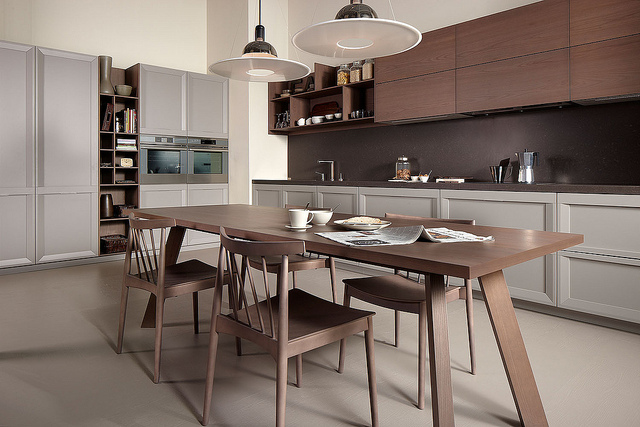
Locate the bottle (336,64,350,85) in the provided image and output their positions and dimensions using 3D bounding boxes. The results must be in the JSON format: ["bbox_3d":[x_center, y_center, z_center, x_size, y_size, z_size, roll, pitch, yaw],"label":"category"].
[{"bbox_3d":[0.306,-1.821,5.330,0.153,0.274,0.311,1,13,4],"label":"bottle"}]

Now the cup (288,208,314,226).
[{"bbox_3d":[-0.116,0.021,2.557,0.154,0.087,0.119,4,1,6],"label":"cup"}]

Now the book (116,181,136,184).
[{"bbox_3d":[-2.618,-0.428,5.613,0.241,0.032,0.147,-5,13,-23],"label":"book"}]

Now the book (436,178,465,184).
[{"bbox_3d":[1.328,-0.338,4.240,0.270,0.030,0.315,5,13,20],"label":"book"}]

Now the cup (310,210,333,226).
[{"bbox_3d":[0.003,0.028,2.700,0.109,0.058,0.105,-1,2,0],"label":"cup"}]

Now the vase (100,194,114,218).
[{"bbox_3d":[-2.832,-0.114,5.514,0.159,0.302,0.186,-7,15,-26],"label":"vase"}]

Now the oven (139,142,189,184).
[{"bbox_3d":[-2.233,-0.679,5.925,0.691,0.586,0.452,-2,7,-27],"label":"oven"}]

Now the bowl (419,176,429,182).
[{"bbox_3d":[1.201,-0.398,4.726,0.072,0.043,0.071,2,3,0],"label":"bowl"}]

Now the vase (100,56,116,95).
[{"bbox_3d":[-2.789,-1.826,5.412,0.183,0.489,0.281,-7,15,-25],"label":"vase"}]

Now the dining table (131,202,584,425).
[{"bbox_3d":[0.219,0.529,2.757,2.295,1.184,1.357,12,17,42],"label":"dining table"}]

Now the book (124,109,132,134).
[{"bbox_3d":[-2.567,-1.260,5.551,0.085,0.290,0.106,-2,14,-10],"label":"book"}]

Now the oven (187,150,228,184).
[{"bbox_3d":[-1.617,-0.720,6.396,0.759,0.551,0.429,3,5,18],"label":"oven"}]

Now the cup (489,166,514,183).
[{"bbox_3d":[1.849,-0.404,4.220,0.254,0.152,0.176,1,-1,-3],"label":"cup"}]

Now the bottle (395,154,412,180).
[{"bbox_3d":[1.014,-0.577,4.994,0.181,0.277,0.366,3,13,10],"label":"bottle"}]

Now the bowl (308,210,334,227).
[{"bbox_3d":[-0.002,0.030,2.732,0.117,0.061,0.112,1,3,0],"label":"bowl"}]

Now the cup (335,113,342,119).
[{"bbox_3d":[0.247,-1.304,5.418,0.065,0.040,0.050,5,5,42],"label":"cup"}]

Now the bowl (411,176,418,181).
[{"bbox_3d":[1.098,-0.416,4.796,0.073,0.045,0.093,2,13,9],"label":"bowl"}]

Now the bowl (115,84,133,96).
[{"bbox_3d":[-2.610,-1.681,5.572,0.217,0.112,0.206,-1,0,0],"label":"bowl"}]

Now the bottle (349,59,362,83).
[{"bbox_3d":[0.450,-1.808,5.177,0.153,0.302,0.326,1,13,3],"label":"bottle"}]

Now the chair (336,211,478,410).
[{"bbox_3d":[0.597,0.593,2.821,0.867,1.019,0.869,-3,6,-22],"label":"chair"}]

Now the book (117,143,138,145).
[{"bbox_3d":[-2.588,-0.950,5.544,0.200,0.020,0.034,-9,15,-36],"label":"book"}]

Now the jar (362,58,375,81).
[{"bbox_3d":[0.590,-1.778,5.042,0.134,0.280,0.307,1,13,4],"label":"jar"}]

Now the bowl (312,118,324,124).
[{"bbox_3d":[-0.041,-1.295,5.691,0.085,0.034,0.082,-1,0,0],"label":"bowl"}]

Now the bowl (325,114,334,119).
[{"bbox_3d":[0.136,-1.329,5.591,0.092,0.060,0.100,0,13,0],"label":"bowl"}]
